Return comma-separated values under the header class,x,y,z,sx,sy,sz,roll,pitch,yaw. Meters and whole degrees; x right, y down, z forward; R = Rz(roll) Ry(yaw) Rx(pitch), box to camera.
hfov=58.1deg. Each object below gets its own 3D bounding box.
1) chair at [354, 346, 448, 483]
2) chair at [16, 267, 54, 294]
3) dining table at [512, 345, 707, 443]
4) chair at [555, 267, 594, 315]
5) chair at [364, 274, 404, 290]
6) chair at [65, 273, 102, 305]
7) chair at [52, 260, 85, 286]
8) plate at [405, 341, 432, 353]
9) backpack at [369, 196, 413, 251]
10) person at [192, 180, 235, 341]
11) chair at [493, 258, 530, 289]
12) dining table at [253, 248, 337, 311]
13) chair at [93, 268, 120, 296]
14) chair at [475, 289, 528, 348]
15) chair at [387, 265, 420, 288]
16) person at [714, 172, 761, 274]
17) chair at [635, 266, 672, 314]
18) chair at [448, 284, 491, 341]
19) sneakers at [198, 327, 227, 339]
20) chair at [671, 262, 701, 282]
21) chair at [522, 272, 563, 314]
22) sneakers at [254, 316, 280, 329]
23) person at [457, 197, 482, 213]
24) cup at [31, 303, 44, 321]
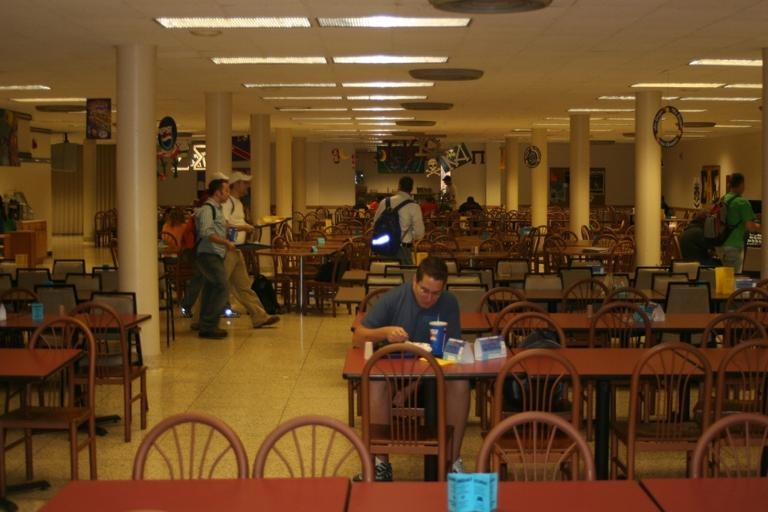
class,x,y,z,sx,sy,sz,roll,pitch,yaw
chair,0.159,1.081,4.663,0.557,1.124,1.109,1,3,4
chair,-4.017,0.279,7.917,0.262,0.427,0.259,3,10,-1
dining table,1.526,0.928,4.712,1.063,0.482,0.558,0,2,2
chair,2.186,0.372,7.741,0.541,0.267,0.825,0,9,5
chair,-0.001,0.285,8.074,0.299,0.210,0.201,1,13,6
chair,-3.329,0.361,7.615,0.286,0.316,0.239,1,2,-8
chair,-4.053,0.212,8.852,0.299,0.385,0.303,1,0,-9
plate,0.246,0.629,4.908,0.150,0.033,0.142,2,2,-33
backpack,0.108,-0.453,10.620,0.588,0.871,0.255,1,3,2
person,-2.280,0.032,9.236,0.486,2.152,0.713,0,3,-14
chair,1.648,0.210,8.980,0.379,0.478,0.371,1,1,6
dining table,-1.394,0.615,11.350,0.993,0.842,1.743,0,8,2
chair,-3.389,0.312,8.417,0.296,0.402,0.272,0,3,-12
chair,1.122,0.544,6.900,0.481,0.662,0.473,1,3,4
chair,0.208,0.235,8.489,0.317,0.323,0.244,2,5,3
person,4.799,-0.463,9.356,0.475,1.380,0.885,2,3,26
chair,2.922,0.370,7.515,0.372,0.651,0.407,3,11,18
chair,0.954,0.536,7.072,0.407,0.566,0.557,0,2,5
sneakers,-2.359,1.052,9.532,0.437,0.183,0.153,-1,3,-10
chair,3.938,0.178,8.935,0.334,0.415,0.348,0,-2,6
chair,1.832,0.415,7.897,0.440,0.568,0.431,1,2,5
sneakers,-1.693,0.954,9.989,0.345,0.154,0.133,-10,12,-9
person,2.513,-1.527,20.381,0.576,0.529,1.747,1,3,6
cup,-3.133,0.496,6.246,0.074,0.164,0.098,3,4,41
